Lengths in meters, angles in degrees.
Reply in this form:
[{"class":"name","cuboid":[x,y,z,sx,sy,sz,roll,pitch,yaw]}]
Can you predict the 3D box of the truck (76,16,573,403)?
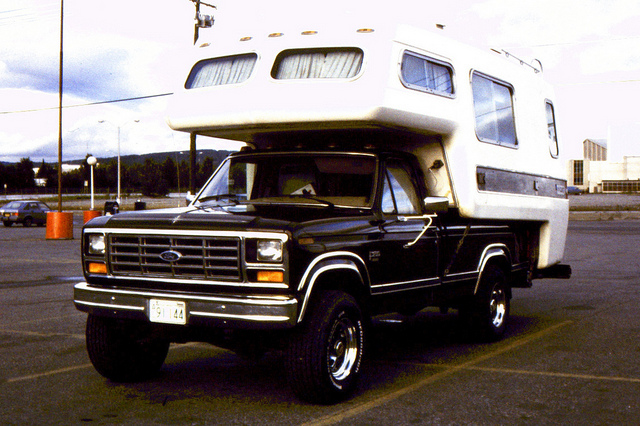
[{"class":"truck","cuboid":[0.370,-0.125,9.197,4.004,4.469,7.511,-3,-3,40]}]
